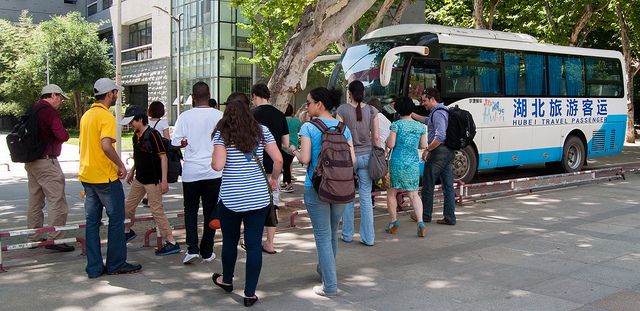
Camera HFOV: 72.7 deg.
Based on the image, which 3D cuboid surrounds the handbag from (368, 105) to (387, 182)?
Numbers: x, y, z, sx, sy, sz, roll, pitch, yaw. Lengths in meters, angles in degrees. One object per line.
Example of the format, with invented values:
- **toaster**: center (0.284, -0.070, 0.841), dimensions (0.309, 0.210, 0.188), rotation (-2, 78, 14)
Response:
- **handbag**: center (1.453, -0.307, 11.301), dimensions (0.412, 1.891, 0.377), rotation (-2, 5, 17)

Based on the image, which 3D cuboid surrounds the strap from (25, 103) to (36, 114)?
- **strap**: center (-7.459, -1.208, 11.136), dimensions (0.057, 0.211, 0.229), rotation (30, -12, 23)

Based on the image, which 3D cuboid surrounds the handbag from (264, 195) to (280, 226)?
- **handbag**: center (-1.093, 1.207, 9.473), dimensions (0.243, 0.734, 0.345), rotation (-3, 5, -1)

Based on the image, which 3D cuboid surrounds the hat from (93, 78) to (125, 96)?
- **hat**: center (-5.045, -1.647, 10.317), dimensions (0.656, 0.292, 0.404), rotation (-14, 15, -32)

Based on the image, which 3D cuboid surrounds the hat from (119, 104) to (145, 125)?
- **hat**: center (-4.617, -1.009, 10.637), dimensions (0.629, 0.279, 0.390), rotation (-17, 10, -37)

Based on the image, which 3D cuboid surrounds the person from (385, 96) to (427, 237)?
- **person**: center (2.317, 0.304, 12.028), dimensions (1.215, 3.860, 0.568), rotation (-3, 5, 1)

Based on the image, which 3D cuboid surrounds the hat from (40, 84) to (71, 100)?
- **hat**: center (-6.809, -1.653, 11.233), dimensions (0.661, 0.297, 0.419), rotation (-2, 9, -39)
